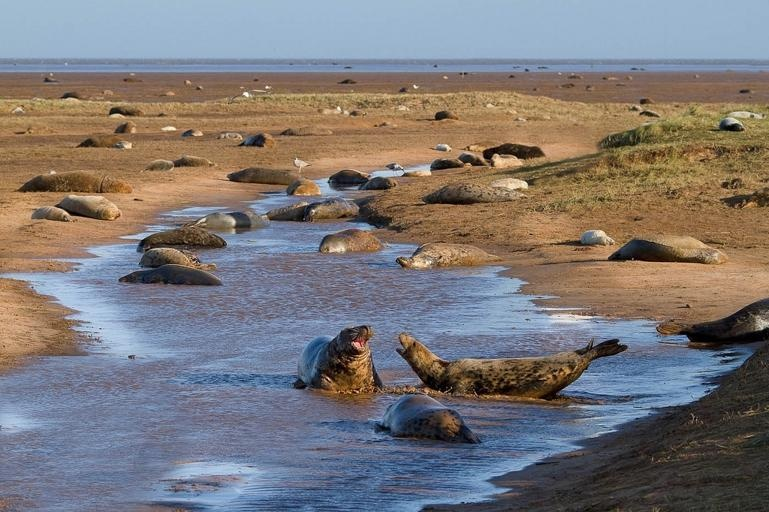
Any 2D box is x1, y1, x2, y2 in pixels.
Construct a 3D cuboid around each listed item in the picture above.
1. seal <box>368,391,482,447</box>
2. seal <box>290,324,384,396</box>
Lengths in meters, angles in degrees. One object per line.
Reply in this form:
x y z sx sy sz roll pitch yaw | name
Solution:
0.552 2.163 17.820 1.325 0.326 1.409 -1 5 -18 | seal
-0.650 1.387 18.623 1.222 0.989 0.582 1 23 6 | seal
